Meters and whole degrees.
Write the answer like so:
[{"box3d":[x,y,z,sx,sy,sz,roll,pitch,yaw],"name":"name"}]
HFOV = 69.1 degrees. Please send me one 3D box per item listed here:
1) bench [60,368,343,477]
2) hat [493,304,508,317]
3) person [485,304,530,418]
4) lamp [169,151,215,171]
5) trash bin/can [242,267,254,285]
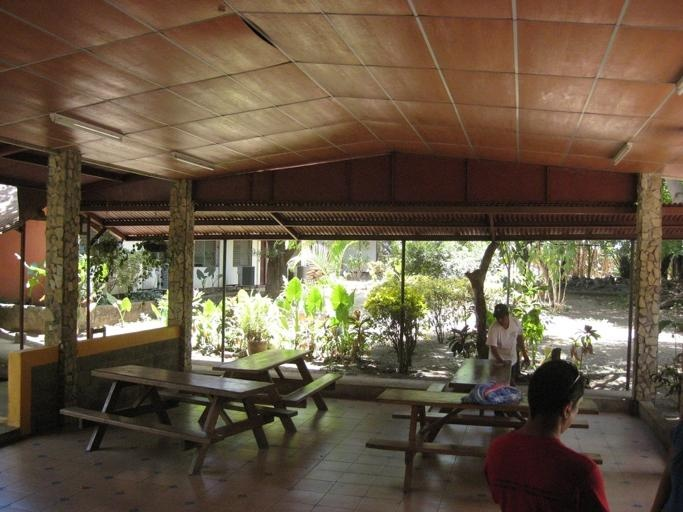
[{"box3d":[-1.833,1.858,6.327,2.510,1.091,1.986,2,4,20],"name":"bench"},{"box3d":[2.123,0.728,6.575,0.158,0.162,0.181,-2,-4,12],"name":"hat"},{"box3d":[2.260,1.383,6.622,0.599,1.436,0.507,-15,18,-17],"name":"person"},{"box3d":[-2.322,-1.459,7.680,0.370,0.157,1.062,1,4,12],"name":"lamp"},{"box3d":[-3.659,0.766,19.488,0.577,0.691,0.248,-2,5,-35],"name":"trash bin/can"}]
